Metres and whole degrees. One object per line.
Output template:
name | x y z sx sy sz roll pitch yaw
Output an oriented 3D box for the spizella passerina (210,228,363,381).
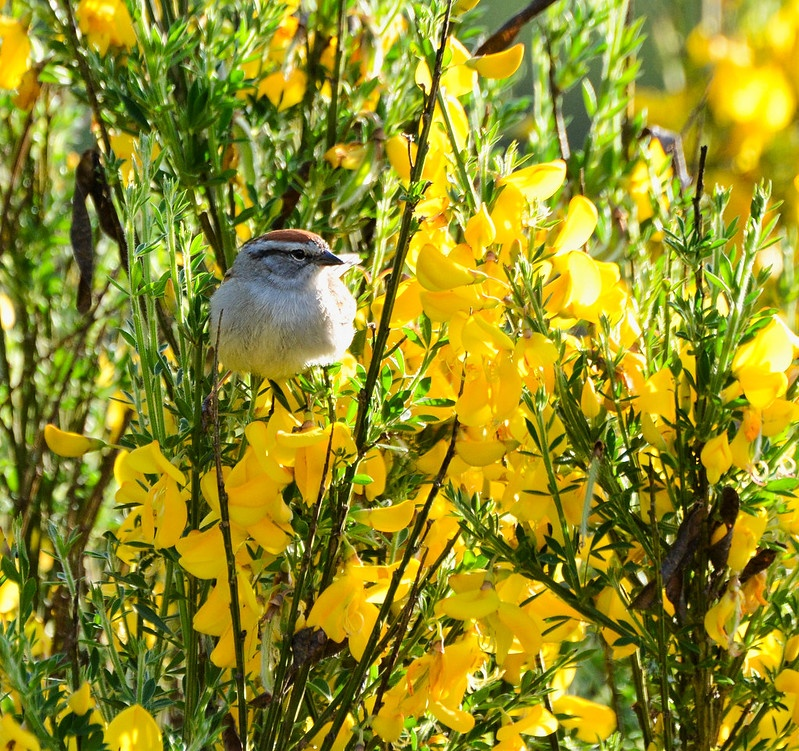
spizella passerina | -0.362 -0.105 2.786 0.360 0.513 0.604 1 1 -16
